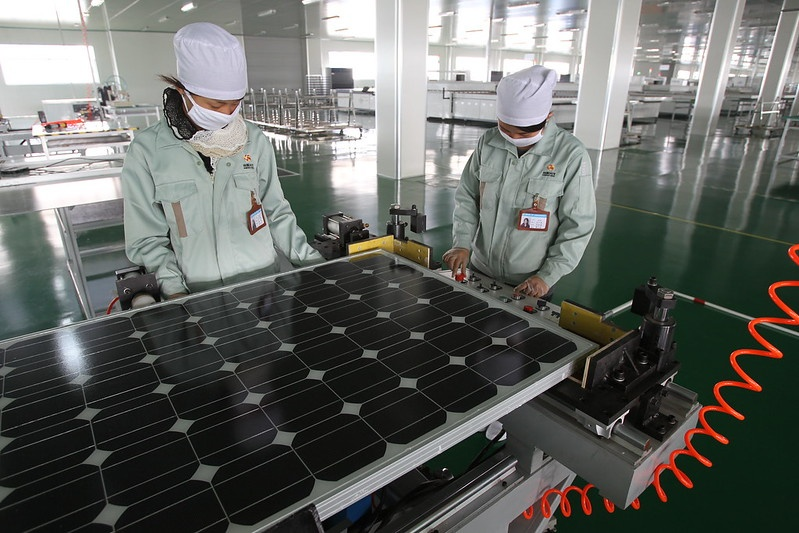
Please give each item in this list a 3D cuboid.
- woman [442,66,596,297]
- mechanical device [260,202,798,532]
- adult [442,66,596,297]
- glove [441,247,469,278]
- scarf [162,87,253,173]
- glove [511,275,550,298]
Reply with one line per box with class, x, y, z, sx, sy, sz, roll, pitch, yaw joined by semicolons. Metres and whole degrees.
woman;0.689;-0.447;2.534;0.732;1.354;0.934;-19;33;-33
mechanical device;0.721;0.500;2.032;2.286;0.857;1.251;-21;39;-30
adult;0.677;-0.435;2.524;0.749;1.339;0.942;-23;35;-38
glove;0.330;-0.022;2.356;0.166;0.148;0.258;1;8;12
scarf;-1.039;-0.754;2.218;0.422;0.209;0.504;12;45;-28
glove;0.700;0.104;2.185;0.126;0.072;0.086;-11;38;-22
